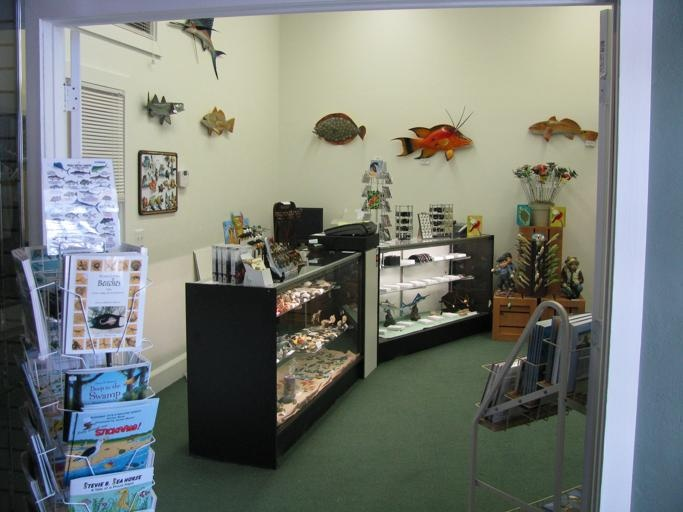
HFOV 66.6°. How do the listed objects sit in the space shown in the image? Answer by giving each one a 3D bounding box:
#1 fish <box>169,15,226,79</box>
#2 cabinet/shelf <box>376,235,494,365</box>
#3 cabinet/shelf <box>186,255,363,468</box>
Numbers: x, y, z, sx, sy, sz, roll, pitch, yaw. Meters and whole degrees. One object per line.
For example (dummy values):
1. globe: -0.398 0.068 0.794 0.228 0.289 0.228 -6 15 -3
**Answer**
1. fish: -1.588 -2.370 5.888 0.229 0.630 1.003 2 10 11
2. cabinet/shelf: 1.118 0.579 7.632 0.605 1.415 2.216 16 -19 -21
3. cabinet/shelf: -0.579 0.905 4.269 0.525 1.023 1.432 2 11 18
